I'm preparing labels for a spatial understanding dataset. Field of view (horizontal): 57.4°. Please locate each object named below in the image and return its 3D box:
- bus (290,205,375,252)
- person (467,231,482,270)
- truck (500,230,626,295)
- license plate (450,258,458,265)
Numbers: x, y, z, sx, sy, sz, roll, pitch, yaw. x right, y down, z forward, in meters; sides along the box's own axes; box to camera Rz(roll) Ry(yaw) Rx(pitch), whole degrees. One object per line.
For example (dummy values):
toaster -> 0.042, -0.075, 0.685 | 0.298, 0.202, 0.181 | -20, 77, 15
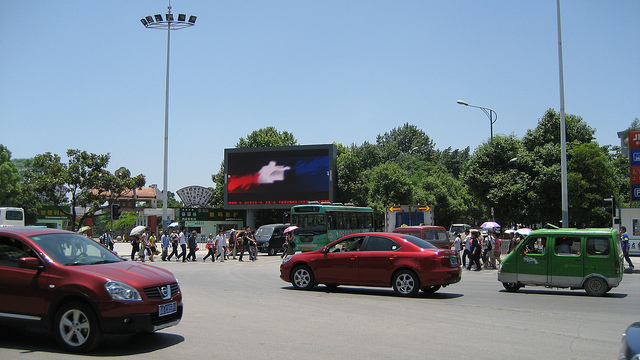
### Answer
bus -> 1.240, 3.359, 42.051 | 2.371, 2.345, 7.840 | -4, -8, 21
person -> 8.641, 3.953, 32.498 | 0.648, 2.141, 0.828 | -2, -5, 10
truck -> 10.030, 3.450, 23.754 | 5.210, 2.484, 2.430 | -2, -3, 29
license plate -> 5.251, 3.201, 22.881 | 0.295, 0.202, 0.039 | 6, -3, -42
